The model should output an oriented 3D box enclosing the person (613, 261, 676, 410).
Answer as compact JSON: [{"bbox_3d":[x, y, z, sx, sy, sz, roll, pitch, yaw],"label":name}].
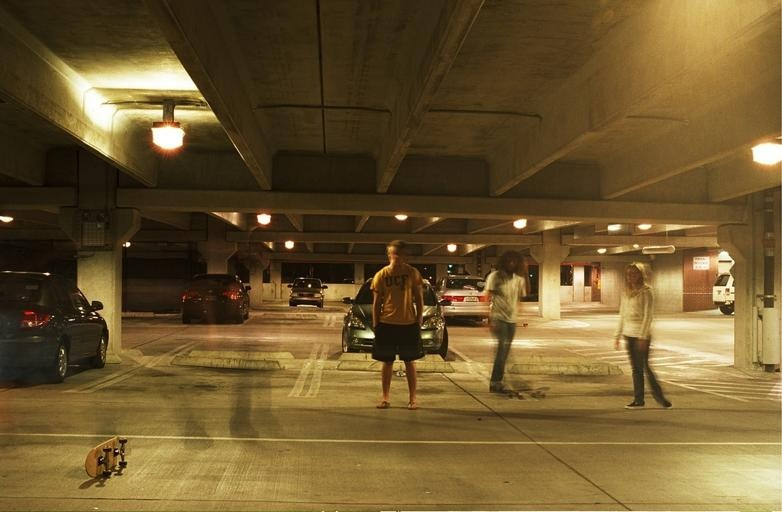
[{"bbox_3d":[4.316,1.401,11.518,0.818,2.527,0.461,4,8,22],"label":"person"}]

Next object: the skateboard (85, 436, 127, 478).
[{"bbox_3d":[-3.755,2.699,8.906,0.338,0.442,0.588,4,6,20],"label":"skateboard"}]

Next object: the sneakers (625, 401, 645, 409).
[{"bbox_3d":[4.223,2.592,11.613,0.366,0.147,0.132,0,-6,10],"label":"sneakers"}]

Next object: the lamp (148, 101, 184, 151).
[{"bbox_3d":[-4.000,-2.337,11.898,0.469,0.793,0.554,-1,7,-20],"label":"lamp"}]

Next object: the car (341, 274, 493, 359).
[{"bbox_3d":[0.281,1.569,16.862,2.130,1.495,4.487,-1,-8,5],"label":"car"}]

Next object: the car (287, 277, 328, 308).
[{"bbox_3d":[-4.608,2.080,36.381,1.744,1.553,1.334,2,6,1],"label":"car"}]

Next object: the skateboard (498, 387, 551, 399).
[{"bbox_3d":[2.556,2.526,12.421,1.304,0.178,0.301,2,6,-31],"label":"skateboard"}]

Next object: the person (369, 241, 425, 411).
[{"bbox_3d":[0.079,1.188,11.209,0.835,2.840,0.914,1,7,-2],"label":"person"}]

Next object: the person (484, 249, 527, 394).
[{"bbox_3d":[2.147,1.228,12.715,0.753,2.677,1.337,3,7,11],"label":"person"}]

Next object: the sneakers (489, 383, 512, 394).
[{"bbox_3d":[2.032,2.494,12.471,0.308,0.112,0.209,6,2,-16],"label":"sneakers"}]

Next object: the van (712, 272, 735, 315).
[{"bbox_3d":[15.797,1.781,31.859,0.828,1.998,1.591,2,6,8],"label":"van"}]
